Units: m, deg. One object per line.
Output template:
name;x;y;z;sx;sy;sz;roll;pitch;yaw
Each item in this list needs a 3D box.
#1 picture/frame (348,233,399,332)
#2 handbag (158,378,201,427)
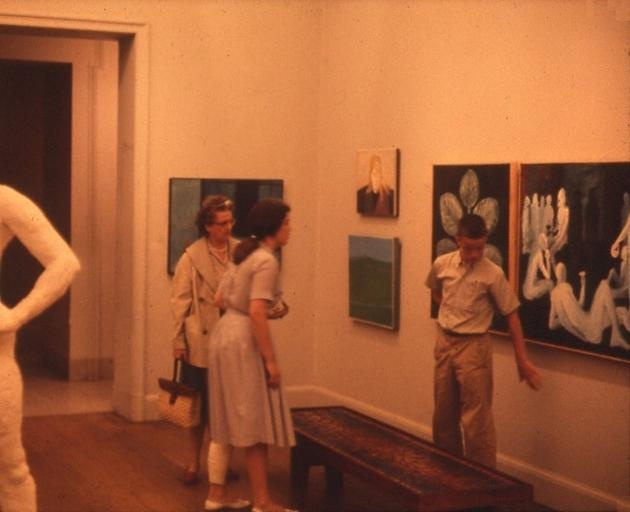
picture/frame;0.562;0.238;6.040;0.102;1.088;0.851;-1;2;-31
handbag;-0.992;1.048;4.648;0.292;0.328;0.142;11;9;22
